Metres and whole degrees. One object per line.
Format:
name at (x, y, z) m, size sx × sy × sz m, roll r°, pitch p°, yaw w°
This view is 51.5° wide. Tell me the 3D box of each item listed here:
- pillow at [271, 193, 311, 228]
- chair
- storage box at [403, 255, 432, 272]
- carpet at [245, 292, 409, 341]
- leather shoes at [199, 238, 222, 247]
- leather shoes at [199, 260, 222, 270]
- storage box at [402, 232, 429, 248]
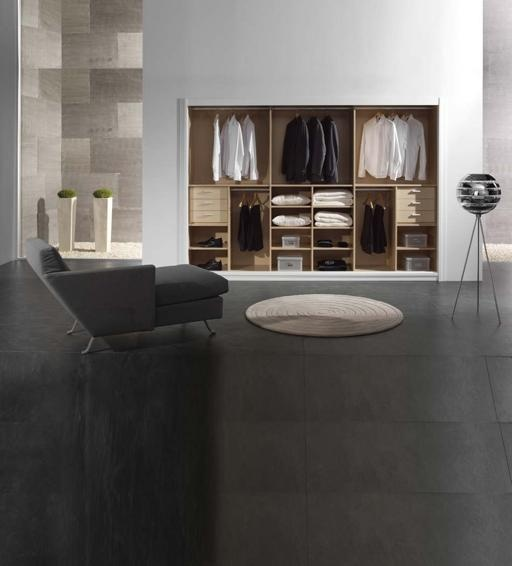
pillow at (0.416, -0.862, 6.323) m, size 0.466 × 0.373 × 0.366 m, roll 0°, pitch 8°, yaw -1°
chair at (-0.849, -0.003, 3.641) m, size 1.063 × 0.723 × 0.747 m, roll -8°, pitch 14°, yaw -29°
storage box at (1.851, -0.214, 6.080) m, size 0.296 × 0.162 × 0.224 m, roll 3°, pitch 9°, yaw 16°
carpet at (0.536, 0.252, 4.265) m, size 1.247 × 0.042 × 1.416 m, roll 4°, pitch 11°, yaw 21°
leather shoes at (-0.554, -0.471, 6.321) m, size 0.294 × 0.153 × 0.122 m, roll 3°, pitch 4°, yaw 20°
leather shoes at (-0.550, -0.198, 6.234) m, size 0.283 × 0.154 × 0.115 m, roll 5°, pitch 3°, yaw 25°
storage box at (1.836, -0.479, 6.150) m, size 0.165 × 0.133 × 0.192 m, roll 0°, pitch 5°, yaw 1°
